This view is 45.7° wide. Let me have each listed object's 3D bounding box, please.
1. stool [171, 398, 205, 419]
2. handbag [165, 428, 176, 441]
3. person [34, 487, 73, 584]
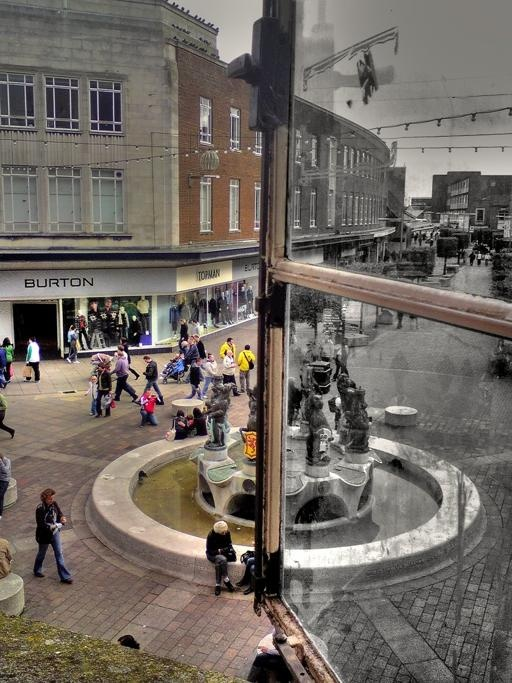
[{"bbox_3d":[-1.796,1.767,16.676,0.593,0.259,0.580,-8,13,-41],"label":"stool"},{"bbox_3d":[-2.045,2.295,14.915,0.124,0.362,0.254,19,-17,-24],"label":"handbag"},{"bbox_3d":[-3.216,3.019,9.590,0.499,1.536,0.875,-6,12,-33],"label":"person"}]
